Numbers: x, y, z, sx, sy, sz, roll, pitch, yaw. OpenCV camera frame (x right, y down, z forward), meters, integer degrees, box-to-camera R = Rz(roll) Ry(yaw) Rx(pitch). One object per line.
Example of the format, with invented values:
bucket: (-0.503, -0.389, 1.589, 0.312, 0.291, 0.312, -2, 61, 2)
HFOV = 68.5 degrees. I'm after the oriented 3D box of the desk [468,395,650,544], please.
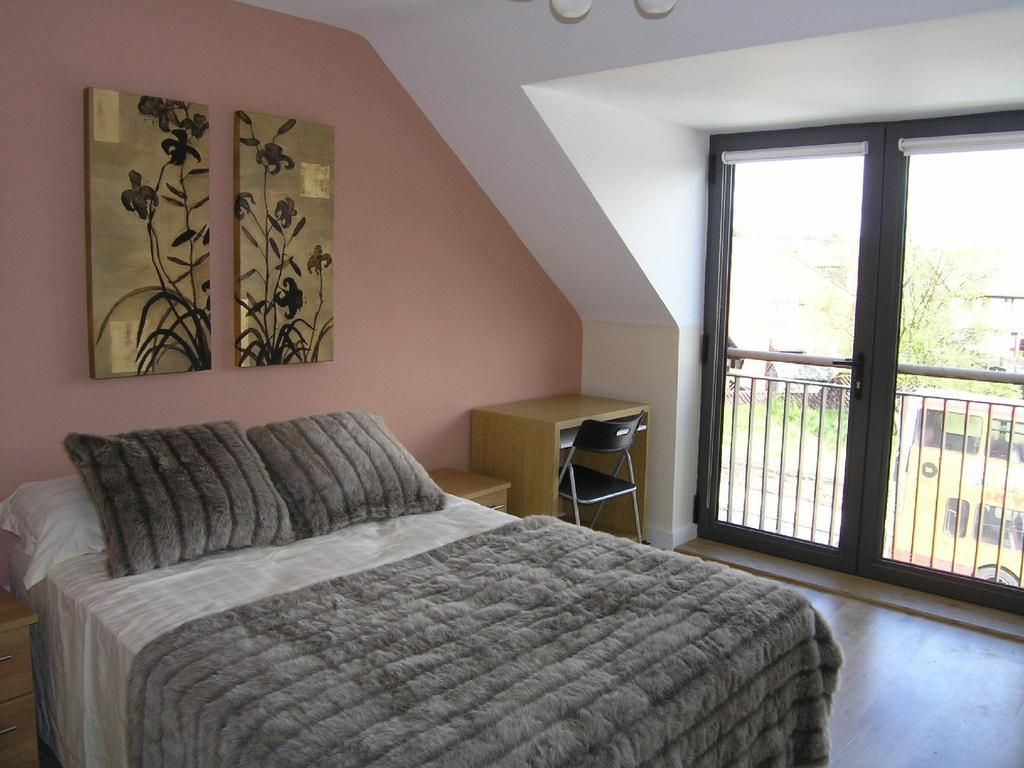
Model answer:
desk: (0.294, 0.272, 4.697, 0.785, 1.106, 1.138, 6, 10, 43)
